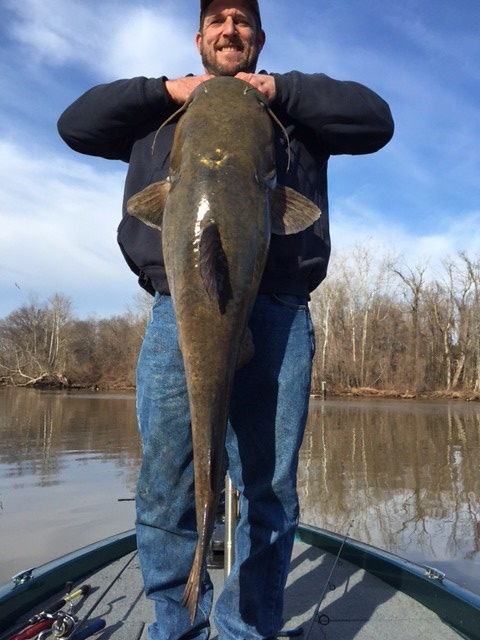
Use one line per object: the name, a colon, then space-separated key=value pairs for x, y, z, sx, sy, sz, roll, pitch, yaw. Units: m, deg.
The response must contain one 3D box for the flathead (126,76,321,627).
flathead: x=-0.041 y=0.062 z=2.086 sx=0.645 sy=1.780 sz=0.469 roll=4 pitch=2 yaw=1
